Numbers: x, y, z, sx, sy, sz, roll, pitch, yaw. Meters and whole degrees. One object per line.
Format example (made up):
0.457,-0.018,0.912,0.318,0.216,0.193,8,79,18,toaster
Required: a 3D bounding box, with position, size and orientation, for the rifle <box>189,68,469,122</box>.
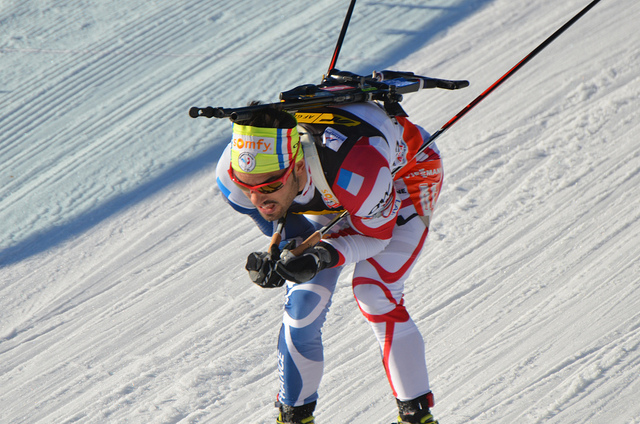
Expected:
0.268,-1.344,14.322,3.803,0.965,0.386,-8,108,-35,rifle
